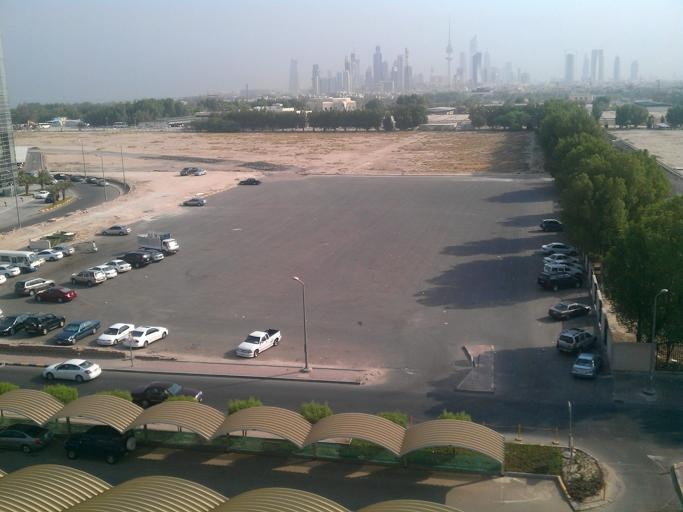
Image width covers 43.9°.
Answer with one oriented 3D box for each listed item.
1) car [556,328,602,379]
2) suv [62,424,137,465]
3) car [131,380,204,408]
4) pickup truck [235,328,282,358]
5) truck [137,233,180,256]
[{"bbox_3d":[17.953,7.122,62.989,2.933,2.258,4.833,1,14,6],"label":"car"},{"bbox_3d":[-15.216,11.646,53.368,4.036,1.737,2.063,6,4,4],"label":"suv"},{"bbox_3d":[-12.019,9.441,58.347,4.483,1.176,1.861,1,12,-1],"label":"car"},{"bbox_3d":[-6.484,6.713,66.104,1.590,1.042,3.397,6,13,28],"label":"pickup truck"},{"bbox_3d":[-18.710,-1.539,87.954,4.799,2.081,1.845,7,31,17],"label":"truck"}]
